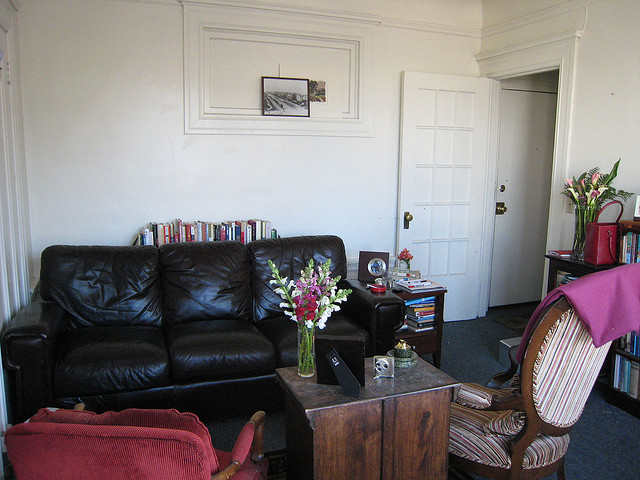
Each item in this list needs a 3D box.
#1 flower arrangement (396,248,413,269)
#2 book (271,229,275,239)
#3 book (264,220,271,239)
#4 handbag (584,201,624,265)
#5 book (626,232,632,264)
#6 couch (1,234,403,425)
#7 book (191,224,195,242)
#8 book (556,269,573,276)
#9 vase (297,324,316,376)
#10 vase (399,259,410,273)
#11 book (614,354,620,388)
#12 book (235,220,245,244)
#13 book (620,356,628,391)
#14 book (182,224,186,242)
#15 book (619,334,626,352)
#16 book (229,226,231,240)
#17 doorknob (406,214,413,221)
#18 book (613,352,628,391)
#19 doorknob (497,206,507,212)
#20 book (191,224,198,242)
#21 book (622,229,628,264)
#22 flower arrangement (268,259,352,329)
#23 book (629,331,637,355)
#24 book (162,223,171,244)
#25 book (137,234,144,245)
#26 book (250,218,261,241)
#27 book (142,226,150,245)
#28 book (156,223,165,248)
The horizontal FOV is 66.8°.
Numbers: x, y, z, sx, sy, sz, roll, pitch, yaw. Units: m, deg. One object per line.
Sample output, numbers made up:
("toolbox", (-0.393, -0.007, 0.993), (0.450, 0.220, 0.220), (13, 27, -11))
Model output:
("flower arrangement", (0.740, 0.177, 4.461), (0.159, 0.207, 0.159), (-1, 1, -13))
("book", (-0.437, -0.060, 4.450), (0.047, 0.080, 0.083), (0, 4, 2))
("book", (-0.476, -0.091, 4.524), (0.114, 0.187, 0.201), (0, 6, -7))
("handbag", (2.279, -0.077, 3.910), (0.241, 0.480, 0.507), (5, 10, 31))
("book", (2.353, 0.052, 3.711), (0.033, 0.227, 0.014), (5, 11, 32))
("couch", (-1.091, 0.637, 3.654), (2.040, 1.147, 0.940), (-3, 9, -14))
("book", (-1.108, -0.055, 4.203), (0.022, 0.096, 0.096), (1, 5, -8))
("book", (2.155, 0.281, 4.305), (0.107, 0.026, 0.075), (28, 18, 14))
("vase", (-0.078, 0.589, 2.572), (0.093, 0.294, 0.195), (-1, 9, -3))
("vase", (0.770, 0.239, 4.444), (0.099, 0.103, 0.181), (1, -6, 2))
("book", (2.210, 0.978, 3.633), (0.023, 0.254, 0.027), (-9, 13, -42))
("book", (-0.767, -0.090, 4.469), (0.146, 0.255, 0.262), (-1, 1, -10))
("book", (2.237, 0.993, 3.605), (0.013, 0.256, 0.029), (-7, 11, -33))
("book", (-1.177, -0.065, 4.185), (0.050, 0.140, 0.147), (-1, -1, -14))
("book", (2.235, 0.762, 3.600), (0.036, 0.120, 0.040), (5, 11, 32))
("book", (-0.803, -0.073, 4.301), (0.039, 0.115, 0.118), (0, 5, -9))
("doorknob", (0.912, -0.235, 4.970), (0.031, 0.067, 0.089), (7, 12, 41))
("book", (2.227, 0.976, 3.606), (0.026, 0.258, 0.101), (-7, 11, -31))
("doorknob", (2.029, -0.352, 5.434), (0.120, 0.066, 0.024), (-6, 10, -29))
("book", (-1.093, -0.061, 4.205), (0.046, 0.124, 0.130), (-2, 11, -18))
("book", (2.335, 0.045, 3.725), (0.020, 0.253, 0.033), (-2, 10, -7))
("flower arrangement", (-0.082, 0.280, 2.659), (0.392, 0.407, 0.406), (3, -1, -14))
("book", (2.286, 0.750, 3.562), (0.034, 0.153, 0.096), (3, 10, 24))
("book", (-1.323, -0.054, 4.165), (0.051, 0.135, 0.146), (-3, 7, -26))
("book", (-1.533, -0.006, 4.148), (0.066, 0.085, 0.022), (6, -7, -3))
("book", (-0.563, -0.096, 4.403), (0.128, 0.225, 0.237), (0, -1, -13))
("book", (-1.478, -0.034, 4.122), (0.082, 0.136, 0.141), (-2, 7, -12))
("book", (-1.363, -0.036, 4.135), (0.069, 0.166, 0.176), (-2, 7, -20))
